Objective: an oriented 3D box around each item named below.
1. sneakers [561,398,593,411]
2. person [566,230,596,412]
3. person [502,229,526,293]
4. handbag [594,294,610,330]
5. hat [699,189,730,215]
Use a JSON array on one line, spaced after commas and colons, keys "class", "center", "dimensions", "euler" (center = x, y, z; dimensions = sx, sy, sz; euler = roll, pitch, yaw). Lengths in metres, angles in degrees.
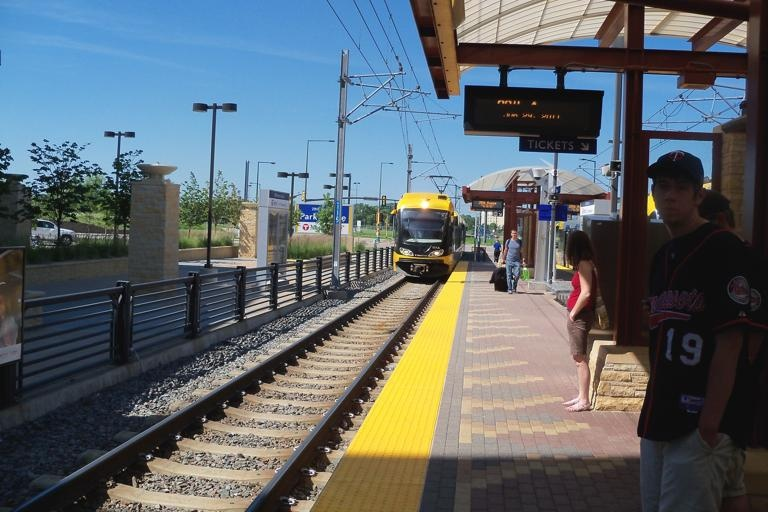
[{"class": "sneakers", "center": [2.498, 1.894, 7.961], "dimensions": [0.439, 0.206, 0.140], "euler": [3, 4, 6]}, {"class": "person", "center": [2.519, 0.806, 7.843], "dimensions": [0.373, 2.328, 0.676], "euler": [1, 6, 18]}, {"class": "person", "center": [4.482, 0.155, 21.463], "dimensions": [0.630, 2.289, 1.435], "euler": [0, 6, 11]}, {"class": "handbag", "center": [2.994, 0.765, 8.445], "dimensions": [0.241, 0.496, 0.152], "euler": [-6, 7, -40]}, {"class": "hat", "center": [2.568, -0.421, 4.742], "dimensions": [0.281, 0.139, 0.380], "euler": [3, 9, 22]}]
